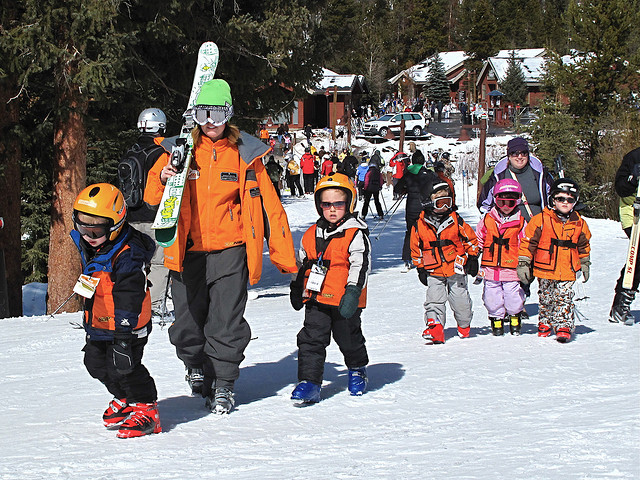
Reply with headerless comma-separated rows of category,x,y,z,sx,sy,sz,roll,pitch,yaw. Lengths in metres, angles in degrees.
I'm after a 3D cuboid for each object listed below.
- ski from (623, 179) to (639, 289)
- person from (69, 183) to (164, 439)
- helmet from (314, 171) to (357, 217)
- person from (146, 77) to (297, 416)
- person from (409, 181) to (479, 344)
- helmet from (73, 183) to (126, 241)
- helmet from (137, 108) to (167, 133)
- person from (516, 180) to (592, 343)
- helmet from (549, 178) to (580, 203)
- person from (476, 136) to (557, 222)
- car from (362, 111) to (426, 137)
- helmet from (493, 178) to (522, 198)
ski,4.106,-0.103,9.132,0.152,1.478,0.157,1,-10,30
person,-1.530,0.556,5.226,0.627,1.954,0.459,-1,4,-15
helmet,0.127,-0.433,6.402,0.407,0.390,0.448,-4,0,-17
person,-0.809,0.052,5.963,0.982,2.848,0.538,-1,4,-14
person,1.538,0.265,8.576,0.823,1.979,0.612,0,4,11
helmet,-1.629,-0.266,5.213,0.315,0.372,0.436,11,20,11
helmet,-2.147,-1.537,8.866,0.256,0.281,0.346,7,20,29
person,2.852,0.250,8.431,0.871,1.935,0.484,0,4,9
helmet,2.984,-0.654,8.471,0.218,0.250,0.299,16,-22,-9
person,2.675,-0.808,9.394,1.043,1.254,0.674,-7,20,1
car,6.000,-9.289,55.866,1.668,1.912,5.459,-4,6,-44
helmet,2.312,-0.671,8.558,0.187,0.300,0.220,1,11,10
